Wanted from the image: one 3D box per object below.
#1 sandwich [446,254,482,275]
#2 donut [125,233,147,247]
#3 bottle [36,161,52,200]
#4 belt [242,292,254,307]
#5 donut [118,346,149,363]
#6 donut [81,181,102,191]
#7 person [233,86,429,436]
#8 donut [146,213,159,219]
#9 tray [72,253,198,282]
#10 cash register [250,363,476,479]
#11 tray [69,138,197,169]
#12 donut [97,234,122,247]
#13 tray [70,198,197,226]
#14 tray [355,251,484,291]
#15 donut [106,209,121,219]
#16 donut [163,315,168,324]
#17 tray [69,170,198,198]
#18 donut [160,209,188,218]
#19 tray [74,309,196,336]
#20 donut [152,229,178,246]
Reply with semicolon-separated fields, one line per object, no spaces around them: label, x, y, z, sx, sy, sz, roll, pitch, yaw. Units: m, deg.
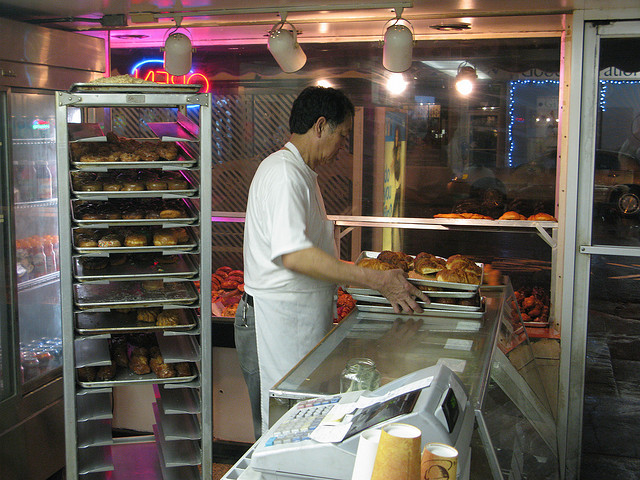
sandwich;0.745;0.146;2.654;0.146;0.045;0.135;8;2;-8
donut;-1.023;0.001;2.926;0.103;0.072;0.130;-1;3;-1
bottle;-1.998;-0.426;3.777;0.029;0.273;0.105;1;4;33
belt;-0.367;0.302;2.636;0.049;0.061;0.018;-2;11;43
donut;-1.113;0.672;3.109;0.155;0.051;0.108;-2;-2;6
donut;-1.238;-0.289;2.832;0.102;0.056;0.120;-3;3;-22
person;-0.010;0.127;2.553;0.806;1.694;0.478;-2;4;-10
donut;-0.925;-0.130;2.890;0.070;0.031;0.041;-2;3;-16
tray;-1.064;0.154;3.009;0.645;0.125;0.426;-2;3;-20
cash register;0.124;0.456;1.483;0.565;0.220;0.335;1;6;18
tray;-1.082;-0.509;3.065;0.653;0.243;0.682;-2;3;-15
donut;-1.147;0.007;2.870;0.105;0.062;0.132;-1;3;0
tray;-1.028;-0.151;2.906;0.643;0.151;0.276;-2;3;-21
tray;0.468;0.185;2.514;0.523;0.046;0.285;3;8;8
donut;-1.139;-0.140;2.871;0.073;0.031;0.067;4;9;11
donut;-0.884;0.453;2.977;0.023;0.046;0.043;-3;4;-20
tray;-0.996;-0.268;2.824;0.633;0.078;0.161;-2;3;-21
donut;-0.825;-0.144;2.929;0.138;0.043;0.044;-2;3;-15
tray;-1.071;0.472;3.031;0.629;0.096;0.420;-2;3;-22
donut;-0.874;-0.012;2.945;0.103;0.052;0.100;-3;6;-31
